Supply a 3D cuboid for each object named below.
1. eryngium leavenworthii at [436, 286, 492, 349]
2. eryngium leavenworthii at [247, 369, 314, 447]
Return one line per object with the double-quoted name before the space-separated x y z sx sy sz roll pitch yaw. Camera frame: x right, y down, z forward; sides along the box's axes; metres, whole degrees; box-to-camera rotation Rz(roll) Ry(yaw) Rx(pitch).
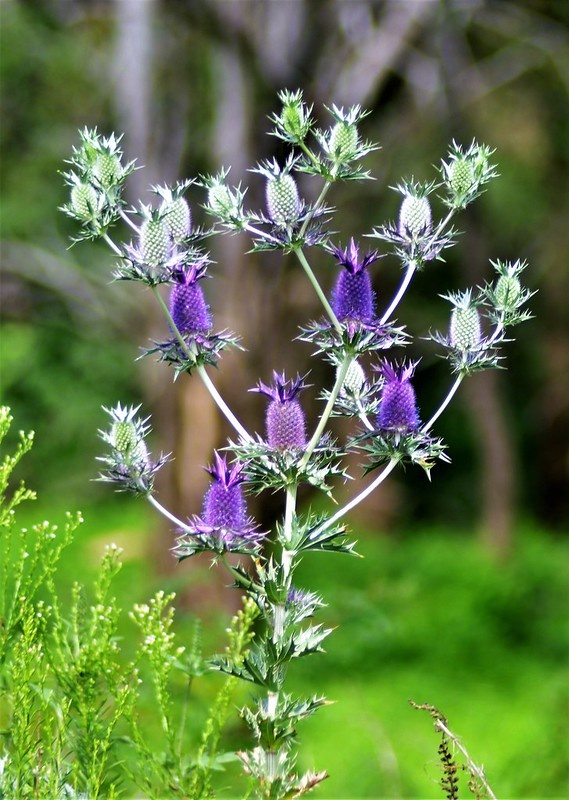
"eryngium leavenworthii" 0.550 -0.250 3.353 0.175 0.170 0.227 -4 -88 -2
"eryngium leavenworthii" 0.011 0.038 3.123 0.211 0.164 0.234 -2 -95 -22
